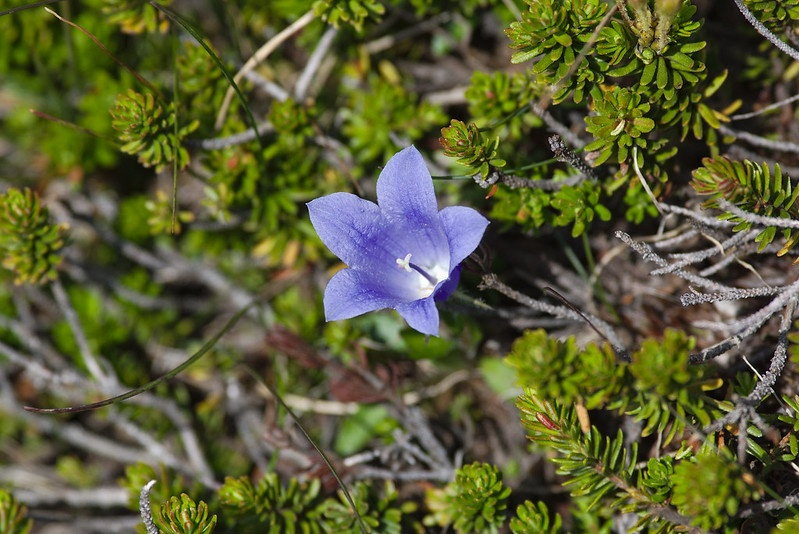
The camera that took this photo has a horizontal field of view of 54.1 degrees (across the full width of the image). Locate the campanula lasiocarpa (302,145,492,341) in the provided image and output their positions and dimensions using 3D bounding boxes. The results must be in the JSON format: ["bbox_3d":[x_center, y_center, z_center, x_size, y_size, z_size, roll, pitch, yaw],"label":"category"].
[{"bbox_3d":[-0.019,-0.153,4.354,0.941,0.495,1.189,-10,84,24],"label":"campanula lasiocarpa"}]
